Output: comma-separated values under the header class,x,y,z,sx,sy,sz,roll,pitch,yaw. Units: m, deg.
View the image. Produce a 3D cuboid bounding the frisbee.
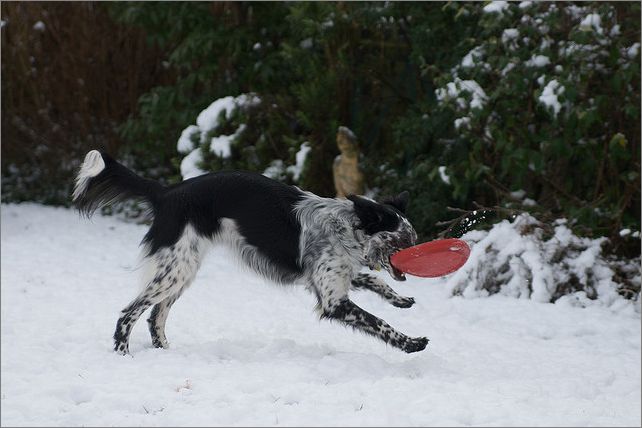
class,x,y,z,sx,sy,sz,roll,pitch,yaw
frisbee,1.261,0.515,10.305,0.621,0.554,0.109,-2,49,-10
